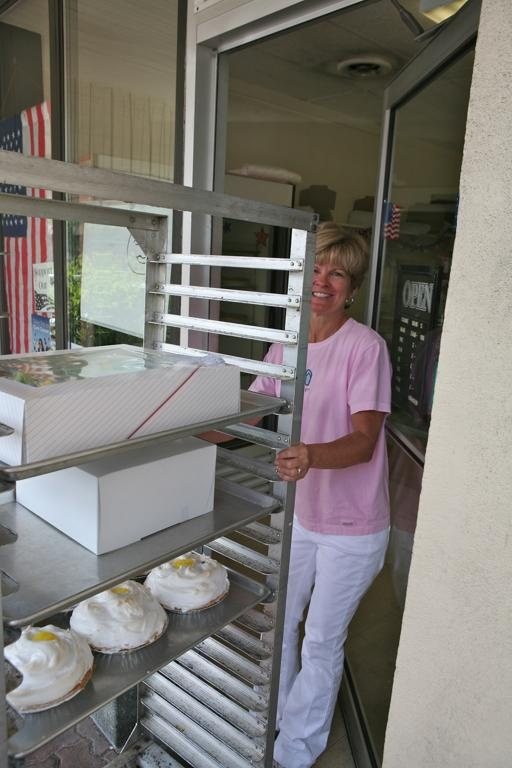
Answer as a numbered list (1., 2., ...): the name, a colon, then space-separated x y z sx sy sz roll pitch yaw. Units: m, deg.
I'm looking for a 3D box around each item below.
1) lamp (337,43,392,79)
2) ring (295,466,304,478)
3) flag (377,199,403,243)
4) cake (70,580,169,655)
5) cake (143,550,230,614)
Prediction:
1. lamp: 0.393 -1.157 2.183 0.222 0.039 0.158 6 10 17
2. ring: 0.096 0.198 1.351 0.013 0.023 0.014 -7 49 8
3. flag: 0.426 -0.519 1.903 0.018 0.150 0.147 -10 21 -24
4. cake: -0.274 0.474 1.210 0.167 0.052 0.150 13 19 12
5. cake: -0.154 0.450 1.364 0.179 0.058 0.170 11 17 26
